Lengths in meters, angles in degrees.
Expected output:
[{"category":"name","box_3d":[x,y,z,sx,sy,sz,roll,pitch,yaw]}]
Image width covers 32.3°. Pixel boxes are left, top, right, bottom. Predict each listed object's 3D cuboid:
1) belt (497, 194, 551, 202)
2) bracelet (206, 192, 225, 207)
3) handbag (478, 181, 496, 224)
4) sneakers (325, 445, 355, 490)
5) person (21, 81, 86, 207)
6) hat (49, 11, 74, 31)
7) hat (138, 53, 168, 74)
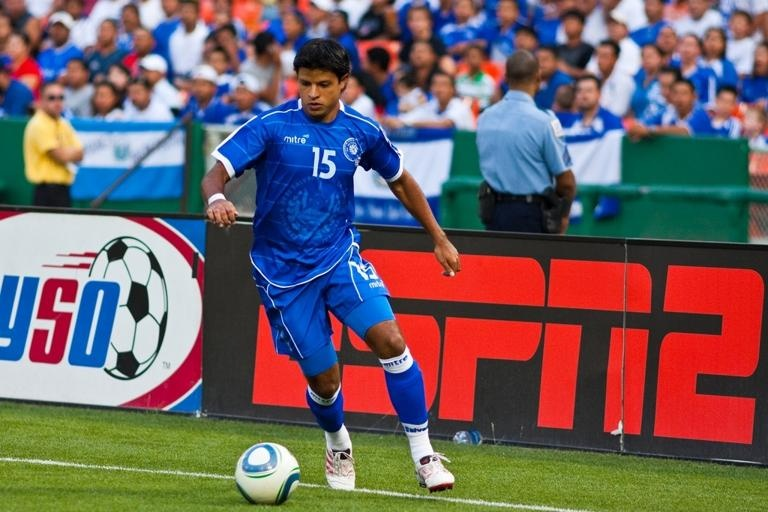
[{"category":"belt","box_3d":[1.304,-0.560,12.708,0.466,0.080,0.052,1,-2,11]},{"category":"bracelet","box_3d":[-1.368,-0.458,10.739,0.105,0.081,0.106,-1,-9,-2]},{"category":"handbag","box_3d":[0.996,-0.528,12.806,0.199,0.527,0.394,-1,2,-1]},{"category":"sneakers","box_3d":[-0.368,1.775,11.092,0.164,0.406,0.169,-4,-24,-7]},{"category":"person","box_3d":[-3.886,-1.312,15.589,0.678,1.432,0.498,2,-2,-15]},{"category":"hat","box_3d":[-4.708,-3.437,19.245,0.274,0.293,0.372,-2,19,3]},{"category":"hat","box_3d":[-3.133,-2.604,17.834,0.310,0.221,0.413,12,12,-39]}]
